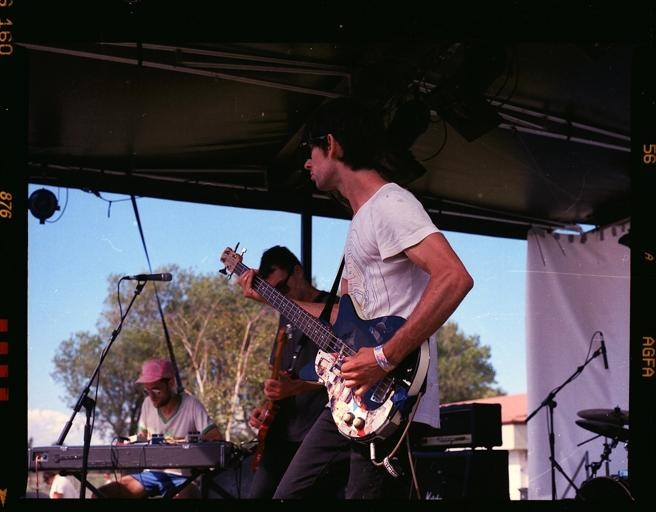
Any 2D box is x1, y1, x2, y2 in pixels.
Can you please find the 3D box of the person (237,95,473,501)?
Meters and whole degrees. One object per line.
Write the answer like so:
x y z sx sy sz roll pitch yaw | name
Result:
0.266 0.094 3.493 1.207 2.191 0.717 -9 -13 41 | person

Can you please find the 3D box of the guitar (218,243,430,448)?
-0.097 0.321 3.508 1.207 0.502 0.117 36 -10 29 | guitar

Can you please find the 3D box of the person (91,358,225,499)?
-1.037 1.076 4.609 0.639 0.874 0.643 -5 -4 37 | person

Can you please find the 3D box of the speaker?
0.790 1.293 4.441 0.450 0.426 0.536 0 -9 1 | speaker

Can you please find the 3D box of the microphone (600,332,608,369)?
1.714 0.586 4.640 0.051 0.231 0.039 -6 -14 24 | microphone
